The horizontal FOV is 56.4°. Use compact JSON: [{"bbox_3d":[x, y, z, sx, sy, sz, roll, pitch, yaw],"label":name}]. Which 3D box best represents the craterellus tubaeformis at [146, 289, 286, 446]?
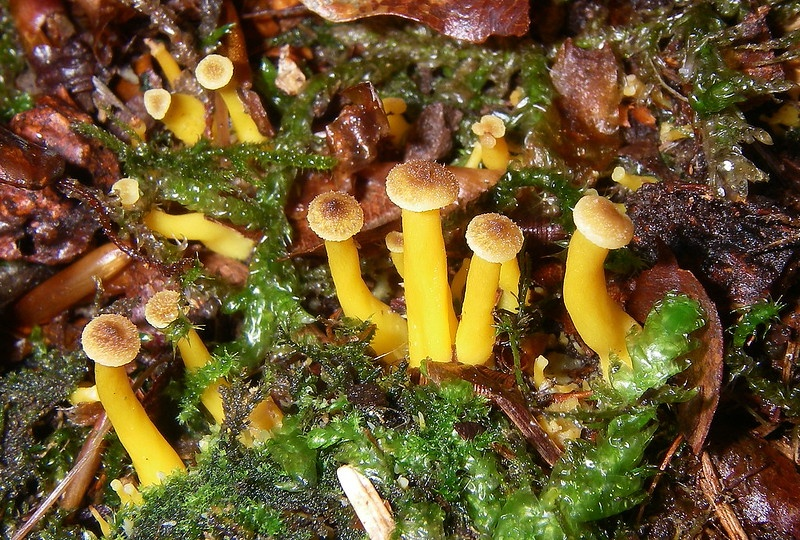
[{"bbox_3d":[-0.740,0.406,3.033,0.156,0.175,0.590,-27,86,-29],"label":"craterellus tubaeformis"}]

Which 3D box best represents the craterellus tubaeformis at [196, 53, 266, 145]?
[{"bbox_3d":[-0.758,-0.737,3.290,0.161,0.401,0.169,6,63,7],"label":"craterellus tubaeformis"}]

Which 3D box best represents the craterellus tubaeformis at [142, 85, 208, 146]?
[{"bbox_3d":[-1.000,-0.691,3.341,0.147,0.263,0.166,21,98,10],"label":"craterellus tubaeformis"}]
